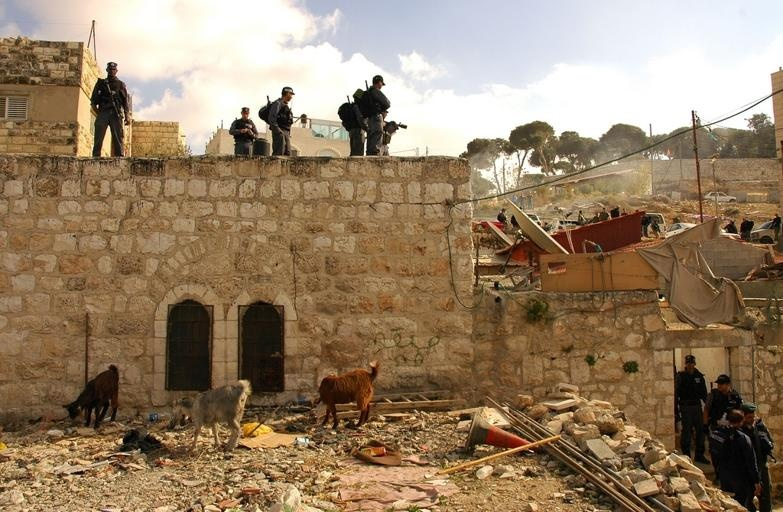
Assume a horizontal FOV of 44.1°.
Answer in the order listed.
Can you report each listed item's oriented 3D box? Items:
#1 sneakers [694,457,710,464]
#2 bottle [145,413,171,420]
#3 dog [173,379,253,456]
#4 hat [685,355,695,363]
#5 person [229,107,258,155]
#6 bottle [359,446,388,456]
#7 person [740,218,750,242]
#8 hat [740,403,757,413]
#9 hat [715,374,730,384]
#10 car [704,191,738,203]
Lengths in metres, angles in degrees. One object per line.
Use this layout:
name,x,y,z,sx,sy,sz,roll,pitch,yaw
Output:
sneakers,7.264,4.796,22.866,0.371,0.143,0.130,-1,0,3
bottle,-5.097,3.496,21.226,0.515,0.175,0.157,0,-5,-8
dog,-3.709,3.266,20.031,2.124,1.255,0.647,-9,-7,32
hat,6.866,2.363,22.511,0.158,0.196,0.206,7,-17,15
person,-3.597,-3.031,23.577,0.630,1.255,1.045,0,-5,-9
bottle,-0.386,3.915,19.548,0.374,0.137,0.223,2,-9,10
person,12.973,-1.011,35.806,0.392,0.904,1.422,-3,-5,20
hat,7.432,3.162,20.349,0.174,0.216,0.187,40,-18,-32
hat,7.652,2.785,22.321,0.377,0.180,0.259,2,-6,-11
car,17.777,-3.226,52.815,2.325,0.719,1.272,0,7,9
